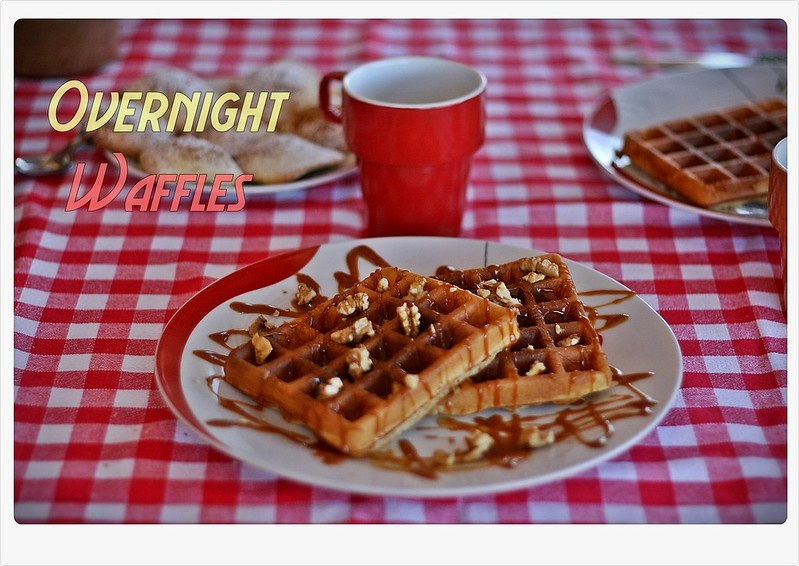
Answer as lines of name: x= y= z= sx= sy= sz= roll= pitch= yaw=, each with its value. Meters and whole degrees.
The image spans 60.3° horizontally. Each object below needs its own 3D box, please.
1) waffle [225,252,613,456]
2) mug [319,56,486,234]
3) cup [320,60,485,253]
waffle: x=0.059 y=0.115 z=1.245 sx=0.506 sy=0.093 sz=0.347 roll=-16 pitch=35 yaw=-19
mug: x=-0.018 y=-0.373 z=1.680 sx=0.457 sy=0.382 sz=0.310 roll=13 pitch=38 yaw=20
cup: x=0.051 y=-0.327 z=1.603 sx=0.458 sy=0.382 sz=0.306 roll=10 pitch=38 yaw=15
